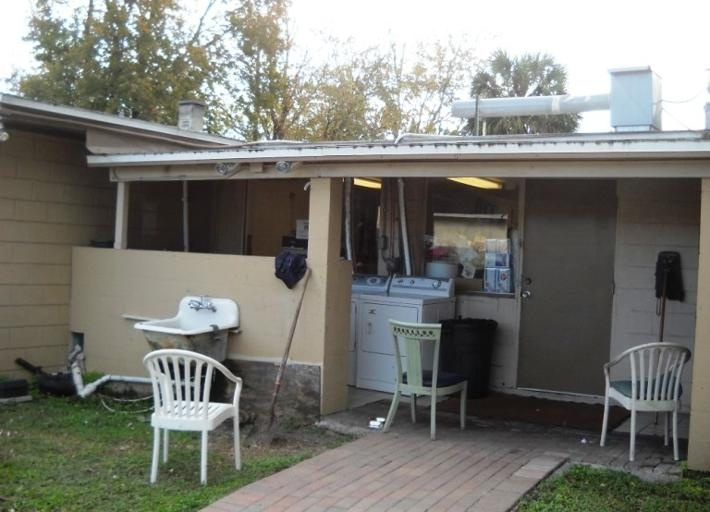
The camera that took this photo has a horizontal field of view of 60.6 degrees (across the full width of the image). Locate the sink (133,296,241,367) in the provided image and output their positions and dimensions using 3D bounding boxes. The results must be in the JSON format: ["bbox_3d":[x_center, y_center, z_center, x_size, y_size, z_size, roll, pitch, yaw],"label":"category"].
[{"bbox_3d":[-2.008,0.969,7.445,1.376,0.937,0.999,1,-1,23],"label":"sink"}]

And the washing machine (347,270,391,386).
[{"bbox_3d":[0.103,0.993,8.541,0.587,1.479,0.528,6,6,37],"label":"washing machine"}]

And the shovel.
[{"bbox_3d":[-0.834,1.121,6.992,0.629,1.905,0.515,2,6,6],"label":"shovel"}]

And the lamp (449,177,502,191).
[{"bbox_3d":[1.762,-1.054,8.893,0.772,0.176,0.202,1,2,15],"label":"lamp"}]

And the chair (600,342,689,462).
[{"bbox_3d":[3.002,1.443,6.254,0.722,1.110,0.803,1,-4,5],"label":"chair"}]

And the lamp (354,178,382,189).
[{"bbox_3d":[0.191,-1.209,10.220,0.690,0.147,0.280,-1,2,-42],"label":"lamp"}]

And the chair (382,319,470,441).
[{"bbox_3d":[0.831,1.286,6.975,0.880,1.344,0.813,5,5,34],"label":"chair"}]

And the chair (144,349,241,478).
[{"bbox_3d":[-1.521,1.488,5.839,0.893,1.195,0.858,2,-1,-16],"label":"chair"}]
